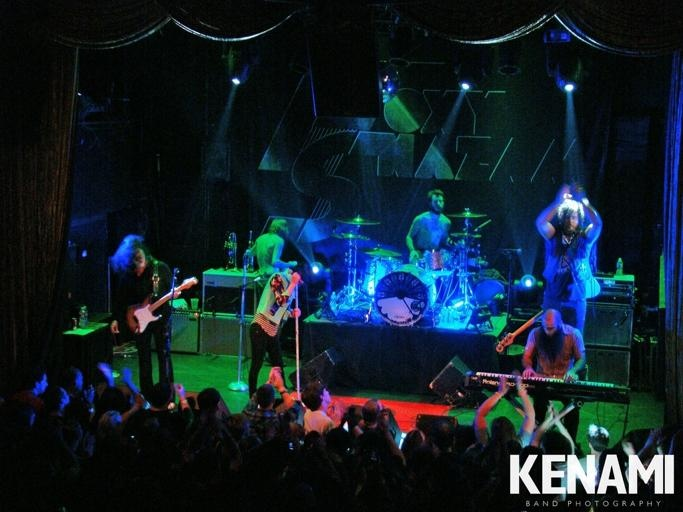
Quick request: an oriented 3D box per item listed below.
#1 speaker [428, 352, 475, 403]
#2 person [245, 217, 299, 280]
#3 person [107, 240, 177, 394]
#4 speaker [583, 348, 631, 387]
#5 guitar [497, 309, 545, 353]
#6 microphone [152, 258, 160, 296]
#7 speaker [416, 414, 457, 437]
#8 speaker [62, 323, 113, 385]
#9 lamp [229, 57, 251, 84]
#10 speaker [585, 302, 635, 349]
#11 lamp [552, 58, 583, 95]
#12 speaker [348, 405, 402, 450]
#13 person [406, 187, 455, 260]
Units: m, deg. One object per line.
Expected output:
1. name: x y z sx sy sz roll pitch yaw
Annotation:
1. speaker: 1.275 1.401 7.641 0.292 0.362 0.515 40 0 8
2. person: -1.019 -0.123 9.341 0.469 0.997 0.393 25 34 39
3. person: -2.208 0.862 7.574 0.648 2.233 0.610 -4 26 -12
4. speaker: 3.227 1.345 8.104 0.560 0.626 0.318 2 3 17
5. guitar: 2.164 0.932 8.091 0.174 0.190 1.225 -6 -19 -23
6. microphone: -2.059 0.242 7.354 0.110 0.330 0.043 -7 -7 41
7. speaker: 0.743 1.362 5.308 0.348 0.108 0.409 1 1 4
8. speaker: -2.892 1.115 7.541 0.336 0.662 0.641 6 11 21
9. lamp: -1.434 -2.641 9.431 0.303 0.271 0.238 4 -15 -11
10. speaker: 3.432 0.806 8.575 0.587 0.663 0.544 3 4 24
11. lamp: 2.930 -2.406 8.731 0.313 0.569 0.332 7 -23 7
12. speaker: 0.232 1.330 5.118 0.263 0.230 0.490 21 7 15
13. person: 1.209 -0.448 9.378 0.597 1.372 1.367 -2 -15 9
